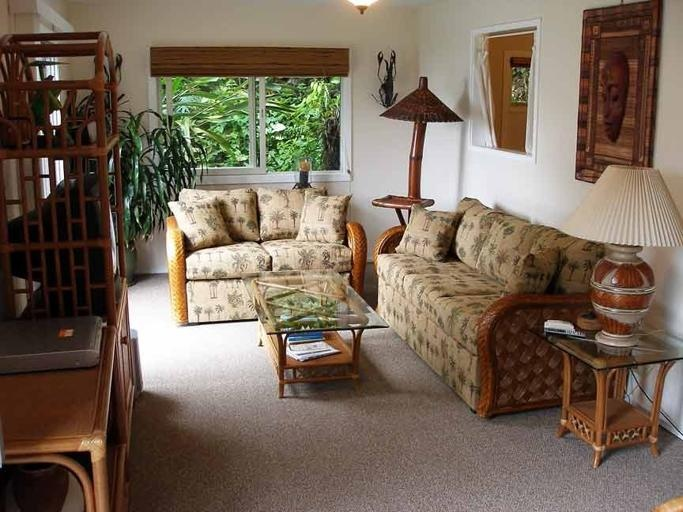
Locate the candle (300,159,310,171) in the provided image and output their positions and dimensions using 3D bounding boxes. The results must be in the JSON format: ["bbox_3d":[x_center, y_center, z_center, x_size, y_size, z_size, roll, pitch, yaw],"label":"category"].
[{"bbox_3d":[-0.409,-0.989,5.900,0.109,0.109,0.111,7,16,20],"label":"candle"}]

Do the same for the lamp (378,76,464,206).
[{"bbox_3d":[0.732,-1.102,5.262,0.696,1.243,0.535,10,18,40],"label":"lamp"}]

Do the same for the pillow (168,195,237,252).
[{"bbox_3d":[-1.280,-0.301,4.876,0.153,0.495,0.503,-32,-12,38],"label":"pillow"}]

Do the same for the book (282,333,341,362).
[{"bbox_3d":[-0.235,0.629,3.811,0.342,0.089,0.328,-10,16,-29],"label":"book"}]

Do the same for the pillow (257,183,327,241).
[{"bbox_3d":[-0.513,-0.422,5.442,0.730,0.547,0.269,0,10,-4],"label":"pillow"}]

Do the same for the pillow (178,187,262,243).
[{"bbox_3d":[-1.159,-0.392,5.252,0.779,0.577,0.297,-14,1,-40],"label":"pillow"}]

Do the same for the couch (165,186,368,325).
[{"bbox_3d":[-0.756,-0.039,5.287,1.802,1.201,1.117,-3,8,-18],"label":"couch"}]

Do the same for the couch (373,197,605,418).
[{"bbox_3d":[1.019,0.240,4.310,1.020,1.162,2.156,-3,15,-17],"label":"couch"}]

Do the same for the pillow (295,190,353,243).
[{"bbox_3d":[-0.174,-0.337,5.193,0.476,0.476,0.147,3,-6,27],"label":"pillow"}]
